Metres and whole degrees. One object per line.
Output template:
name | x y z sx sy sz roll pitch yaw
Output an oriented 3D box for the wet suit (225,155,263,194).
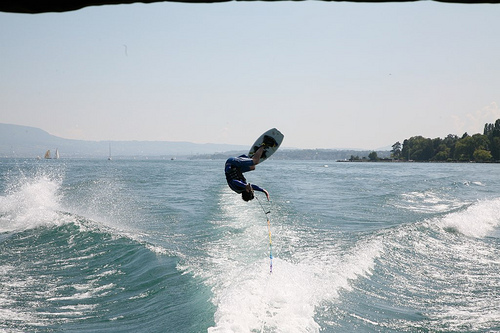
wet suit | -0.213 0.133 16.064 1.217 1.094 1.004 -3 2 28
